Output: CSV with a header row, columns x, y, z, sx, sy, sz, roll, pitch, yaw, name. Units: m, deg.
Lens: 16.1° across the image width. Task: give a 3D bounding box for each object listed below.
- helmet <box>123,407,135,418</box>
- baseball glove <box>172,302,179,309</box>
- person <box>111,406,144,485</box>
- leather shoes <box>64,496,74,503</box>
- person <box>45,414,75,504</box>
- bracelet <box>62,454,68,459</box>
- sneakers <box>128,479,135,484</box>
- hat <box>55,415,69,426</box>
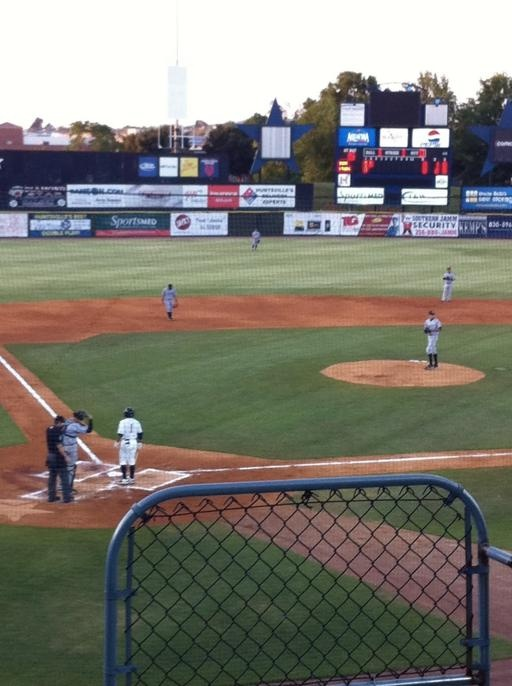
x,y,z,sx,sy,sz,roll,pitch,yaw,name
-2.326,1.252,32.383,0.208,0.255,0.267,3,13,0,helmet
-2.272,-1.082,49.613,0.162,0.212,0.077,-9,30,-31,baseball glove
-2.313,1.777,32.300,0.430,1.241,1.002,-2,10,-4,person
-3.298,2.667,31.341,0.174,0.091,0.193,-1,10,-2,leather shoes
-3.494,2.004,31.456,0.426,1.363,0.703,-2,10,-7,person
-3.412,1.948,31.717,0.032,0.093,0.068,-40,-12,13,bracelet
-2.254,2.417,31.993,0.112,0.067,0.165,0,10,6,sneakers
-3.476,1.335,31.725,0.143,0.192,0.186,4,12,4,hat
